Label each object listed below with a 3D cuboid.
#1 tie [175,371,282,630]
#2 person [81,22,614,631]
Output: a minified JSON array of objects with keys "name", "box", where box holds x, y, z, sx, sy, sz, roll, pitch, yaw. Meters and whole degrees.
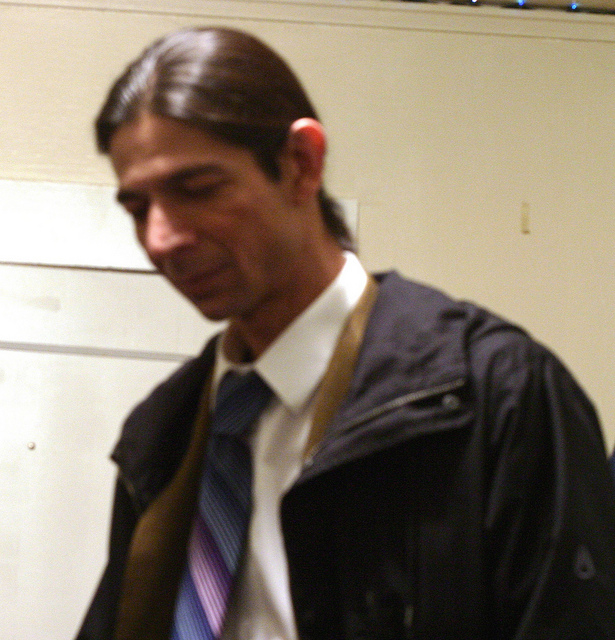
[{"name":"tie","box":[-0.119,0.333,1.238,0.172,0.451,0.031,1,-20,31]},{"name":"person","box":[-0.006,-0.007,1.177,0.937,1.033,0.254,-6,2,22]}]
